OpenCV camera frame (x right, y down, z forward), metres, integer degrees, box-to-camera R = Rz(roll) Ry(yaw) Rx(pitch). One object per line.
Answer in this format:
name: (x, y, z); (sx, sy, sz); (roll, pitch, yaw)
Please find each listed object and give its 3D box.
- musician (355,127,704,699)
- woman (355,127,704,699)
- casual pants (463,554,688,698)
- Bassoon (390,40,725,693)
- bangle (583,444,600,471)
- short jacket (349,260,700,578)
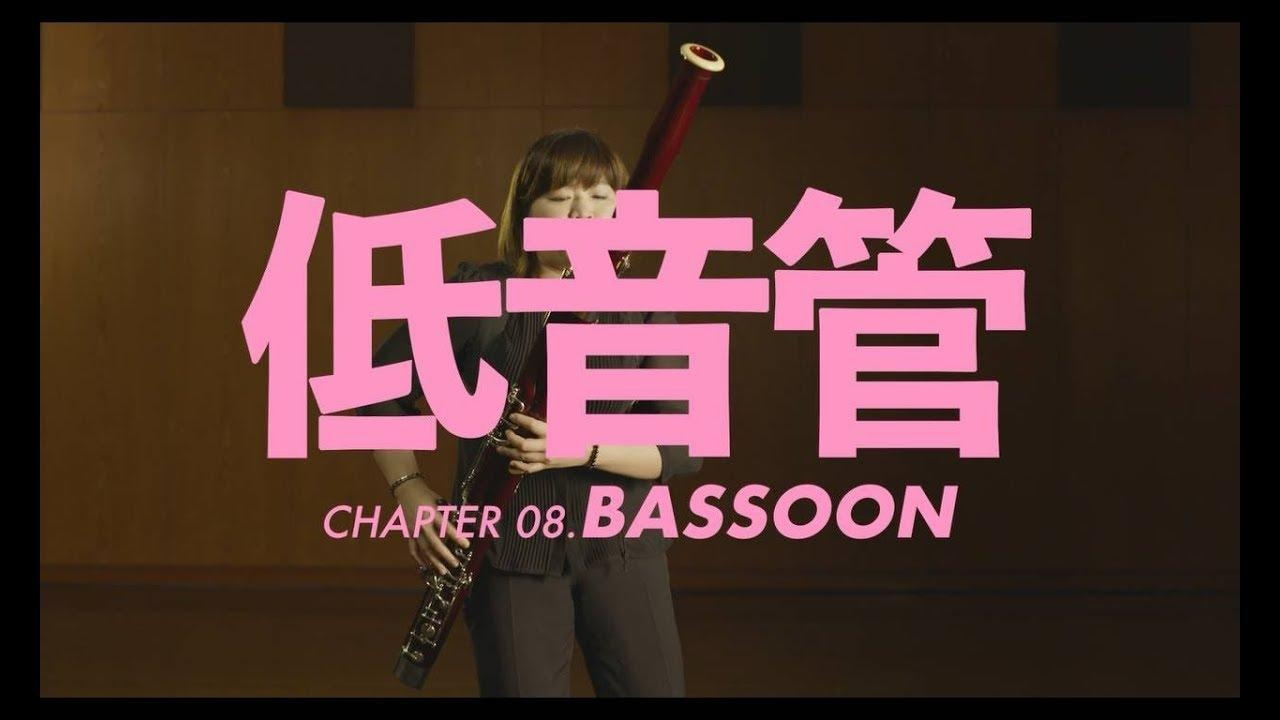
musician: (-0.382, 0.648, 5.866); (1.217, 2.971, 0.881); (-2, -1, -10)
woman: (-0.406, 0.667, 5.861); (1.354, 2.957, 0.878); (-2, -4, -3)
casual pants: (-0.240, 0.986, 5.795); (0.798, 0.526, 0.085); (0, 3, -4)
Bassoon: (-0.289, 0.082, 5.802); (0.294, 2.524, 0.313); (25, 4, 2)
bangle: (-0.177, 0.357, 5.788); (0.052, 0.089, 0.005); (1, 3, 3)
short jacket: (-0.340, 0.158, 6.252); (1.190, 1.152, 0.305); (7, 12, 0)
